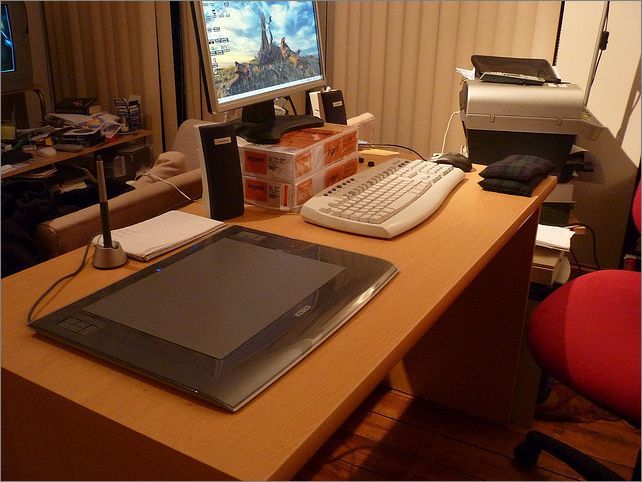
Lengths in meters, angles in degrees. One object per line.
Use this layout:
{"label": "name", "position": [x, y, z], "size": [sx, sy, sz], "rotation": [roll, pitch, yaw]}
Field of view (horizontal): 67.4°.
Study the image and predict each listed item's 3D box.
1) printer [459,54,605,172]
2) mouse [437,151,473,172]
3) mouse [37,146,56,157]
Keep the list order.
{"label": "printer", "position": [0.759, -0.459, 1.781], "size": [0.477, 0.321, 0.523], "rotation": [7, 29, 16]}
{"label": "mouse", "position": [0.427, -0.253, 1.538], "size": [0.101, 0.038, 0.063], "rotation": [17, 31, 23]}
{"label": "mouse", "position": [-1.683, -0.550, 2.938], "size": [0.101, 0.038, 0.063], "rotation": [16, 32, 30]}
